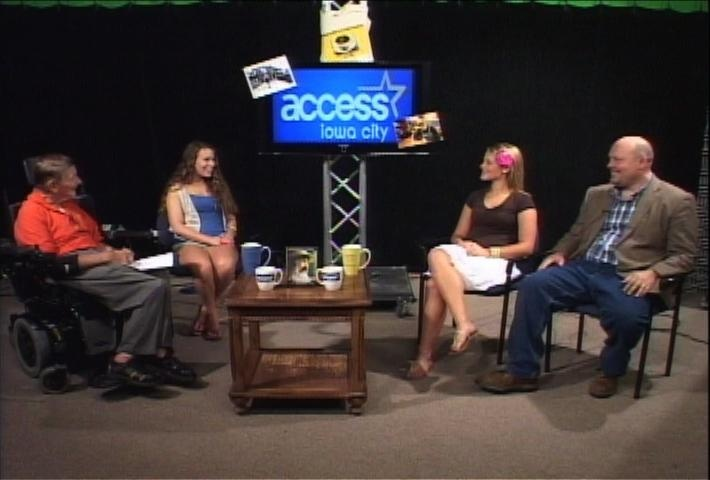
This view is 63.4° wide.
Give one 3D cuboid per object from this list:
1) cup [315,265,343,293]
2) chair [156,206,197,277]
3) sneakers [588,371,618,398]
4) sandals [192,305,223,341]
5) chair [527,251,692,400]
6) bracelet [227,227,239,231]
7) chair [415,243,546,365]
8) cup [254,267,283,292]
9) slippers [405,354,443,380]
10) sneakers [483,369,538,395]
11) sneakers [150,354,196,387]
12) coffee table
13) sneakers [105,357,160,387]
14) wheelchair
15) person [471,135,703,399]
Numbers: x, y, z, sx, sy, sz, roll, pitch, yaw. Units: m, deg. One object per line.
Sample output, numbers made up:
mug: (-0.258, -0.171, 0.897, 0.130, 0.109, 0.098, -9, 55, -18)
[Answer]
cup: (-0.176, 0.247, 3.820, 0.193, 0.134, 0.129, 1, 5, 28)
chair: (-1.559, 0.117, 5.134, 0.317, 0.441, 0.276, -3, 36, -9)
sneakers: (1.749, 1.005, 3.986, 0.265, 0.104, 0.100, -4, 10, -22)
sandals: (-1.231, 0.701, 4.797, 0.135, 0.253, 0.241, 11, 38, -16)
chair: (1.998, 0.542, 4.267, 0.901, 0.868, 0.632, -8, 1, 34)
bracelet: (-1.102, -0.100, 5.161, 0.063, 0.024, 0.081, -1, 32, -7)
chair: (0.930, 0.392, 4.511, 0.764, 0.905, 0.661, 10, 9, 26)
cup: (-0.568, 0.249, 3.816, 0.188, 0.130, 0.134, 1, 1, -30)
slippers: (0.509, 0.936, 4.225, 0.242, 0.214, 0.121, 1, 2, 1)
sneakers: (1.072, 0.980, 3.992, 0.344, 0.148, 0.162, 3, 3, -1)
sneakers: (-1.258, 0.919, 3.992, 0.343, 0.152, 0.158, 19, 6, -1)
coffee table: (-0.358, 0.667, 4.118, 0.992, 0.767, 0.953, -1, 10, 0)
sneakers: (-1.520, 0.893, 3.874, 0.364, 0.163, 0.151, 5, -3, -6)
wheelchair: (-1.846, 0.219, 3.987, 1.161, 1.579, 0.683, 6, 19, 31)
person: (1.642, 0.161, 3.999, 1.375, 1.769, 0.969, -4, 9, -29)
